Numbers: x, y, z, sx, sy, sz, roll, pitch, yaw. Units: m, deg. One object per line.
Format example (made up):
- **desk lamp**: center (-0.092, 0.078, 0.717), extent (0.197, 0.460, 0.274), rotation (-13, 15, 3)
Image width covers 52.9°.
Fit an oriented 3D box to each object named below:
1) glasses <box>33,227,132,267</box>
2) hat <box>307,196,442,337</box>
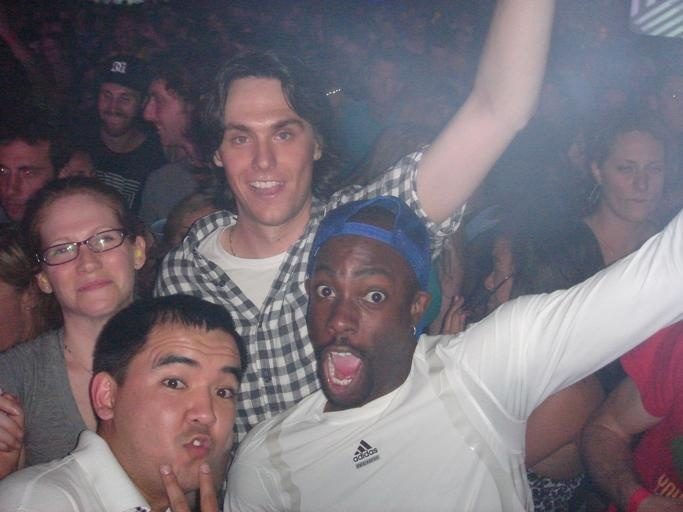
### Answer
- **glasses**: center (-0.868, -0.027, 2.301), extent (0.285, 0.123, 0.069), rotation (0, 12, -16)
- **hat**: center (0.159, 0.052, 2.439), extent (0.530, 0.446, 0.366), rotation (9, -16, -22)
